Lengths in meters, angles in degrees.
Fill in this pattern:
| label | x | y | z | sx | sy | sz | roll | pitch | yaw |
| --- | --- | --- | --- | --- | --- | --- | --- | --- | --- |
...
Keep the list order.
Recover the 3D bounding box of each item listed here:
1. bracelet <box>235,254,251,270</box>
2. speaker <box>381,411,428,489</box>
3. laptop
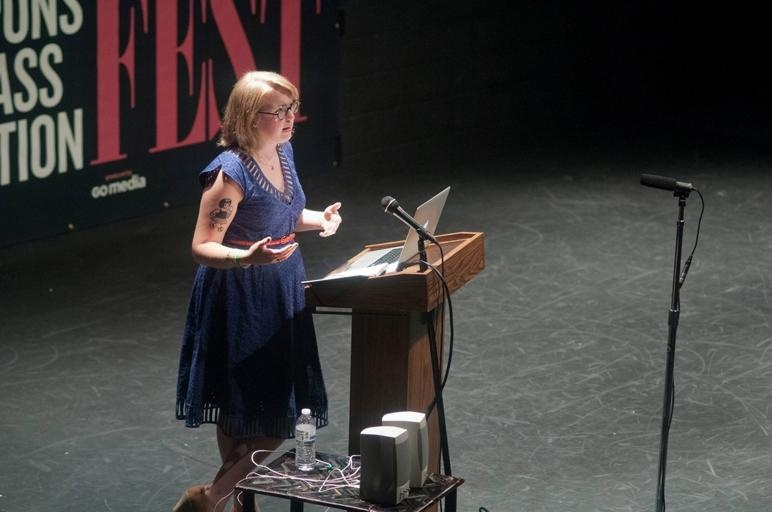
| label | x | y | z | sx | sy | sz | roll | pitch | yaw |
| --- | --- | --- | --- | --- | --- | --- | --- | --- | --- |
| bracelet | -0.607 | 0.028 | 3.439 | 0.047 | 0.023 | 0.059 | 1 | -48 | 2 |
| speaker | 0.086 | 0.795 | 3.335 | 0.174 | 0.249 | 0.150 | -6 | -9 | 21 |
| laptop | 0.038 | -0.073 | 3.544 | 0.395 | 0.261 | 0.430 | -5 | 12 | 25 |
